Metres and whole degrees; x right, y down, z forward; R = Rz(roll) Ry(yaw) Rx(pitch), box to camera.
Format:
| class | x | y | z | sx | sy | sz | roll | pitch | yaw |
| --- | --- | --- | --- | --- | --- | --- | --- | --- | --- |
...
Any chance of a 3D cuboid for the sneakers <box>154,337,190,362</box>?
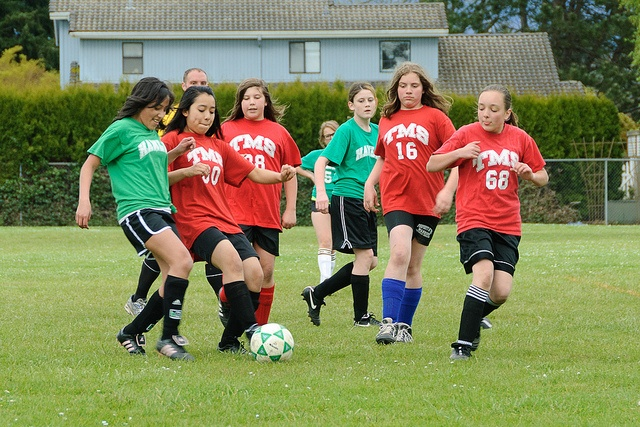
| class | x | y | z | sx | sy | sz | roll | pitch | yaw |
| --- | --- | --- | --- | --- | --- | --- | --- | --- | --- |
| sneakers | -1.516 | 1.409 | 7.685 | 0.412 | 0.178 | 0.154 | 9 | 12 | 27 |

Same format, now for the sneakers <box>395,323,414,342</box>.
| class | x | y | z | sx | sy | sz | roll | pitch | yaw |
| --- | --- | --- | --- | --- | --- | --- | --- | --- | --- |
| sneakers | 0.945 | 1.371 | 8.557 | 0.133 | 0.171 | 0.401 | 0 | -10 | 14 |

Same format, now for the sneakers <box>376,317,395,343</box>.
| class | x | y | z | sx | sy | sz | roll | pitch | yaw |
| --- | --- | --- | --- | --- | --- | --- | --- | --- | --- |
| sneakers | 0.738 | 1.323 | 8.424 | 0.198 | 0.256 | 0.288 | 2 | 3 | 9 |

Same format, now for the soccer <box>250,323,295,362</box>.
| class | x | y | z | sx | sy | sz | roll | pitch | yaw |
| --- | --- | --- | --- | --- | --- | --- | --- | --- | --- |
| soccer | -0.501 | 1.334 | 7.718 | 0.377 | 0.380 | 0.369 | 8 | -11 | -38 |

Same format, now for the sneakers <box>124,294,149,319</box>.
| class | x | y | z | sx | sy | sz | roll | pitch | yaw |
| --- | --- | --- | --- | --- | --- | --- | --- | --- | --- |
| sneakers | -2.175 | 1.118 | 8.890 | 0.163 | 0.348 | 0.122 | -34 | 40 | 0 |

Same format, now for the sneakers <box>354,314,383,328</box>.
| class | x | y | z | sx | sy | sz | roll | pitch | yaw |
| --- | --- | --- | --- | --- | --- | --- | --- | --- | --- |
| sneakers | 0.585 | 1.330 | 9.220 | 0.352 | 0.166 | 0.135 | -2 | 5 | -13 |

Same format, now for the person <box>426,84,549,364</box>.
| class | x | y | z | sx | sy | sz | roll | pitch | yaw |
| --- | --- | --- | --- | --- | --- | --- | --- | --- | --- |
| person | 1.785 | 0.063 | 8.060 | 1.184 | 2.895 | 0.583 | 0 | 3 | -20 |

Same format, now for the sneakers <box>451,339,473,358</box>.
| class | x | y | z | sx | sy | sz | roll | pitch | yaw |
| --- | --- | --- | --- | --- | --- | --- | --- | --- | --- |
| sneakers | 1.483 | 1.423 | 7.896 | 0.221 | 0.186 | 0.318 | 2 | 3 | 13 |

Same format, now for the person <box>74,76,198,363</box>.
| class | x | y | z | sx | sy | sz | roll | pitch | yaw |
| --- | --- | --- | --- | --- | --- | --- | --- | --- | --- |
| person | -1.828 | 0.008 | 7.873 | 1.240 | 2.903 | 0.595 | 2 | 3 | 8 |
